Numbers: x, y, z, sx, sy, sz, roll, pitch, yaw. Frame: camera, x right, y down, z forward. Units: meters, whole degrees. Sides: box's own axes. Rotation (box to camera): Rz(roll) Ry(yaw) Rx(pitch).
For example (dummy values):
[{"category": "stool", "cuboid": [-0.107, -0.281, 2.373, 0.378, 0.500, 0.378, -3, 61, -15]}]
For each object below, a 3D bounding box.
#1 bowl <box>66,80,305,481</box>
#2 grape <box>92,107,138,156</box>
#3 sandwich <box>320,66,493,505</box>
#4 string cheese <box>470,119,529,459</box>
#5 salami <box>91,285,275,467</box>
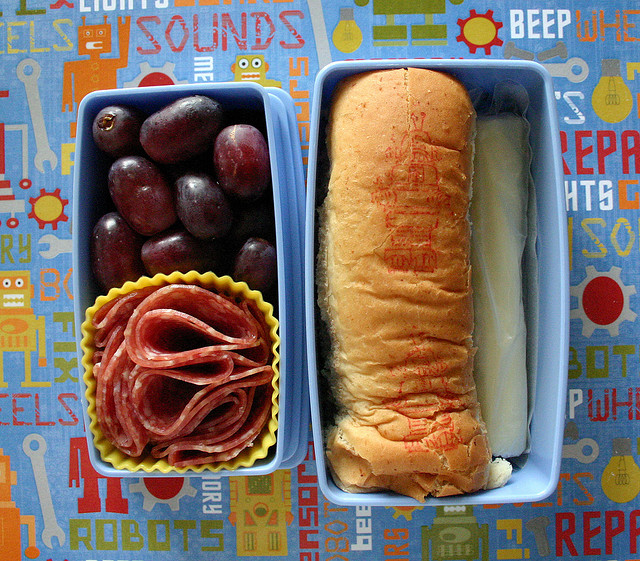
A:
[{"category": "bowl", "cuboid": [-0.258, 0.023, 1.603, 0.448, 0.273, 0.779, -2, 93, -2]}, {"category": "grape", "cuboid": [-0.393, -0.286, 1.615, 0.079, 0.037, 0.085, 18, 81, 3]}, {"category": "sandwich", "cuboid": [0.157, 0.018, 1.691, 0.325, 0.228, 0.817, 1, 94, -3]}, {"category": "string cheese", "cuboid": [0.334, 0.008, 1.662, 0.127, 0.143, 0.597, -2, 117, 6]}, {"category": "salami", "cuboid": [-0.260, 0.180, 1.607, 0.340, 0.154, 0.338, -5, 81, 0]}]
